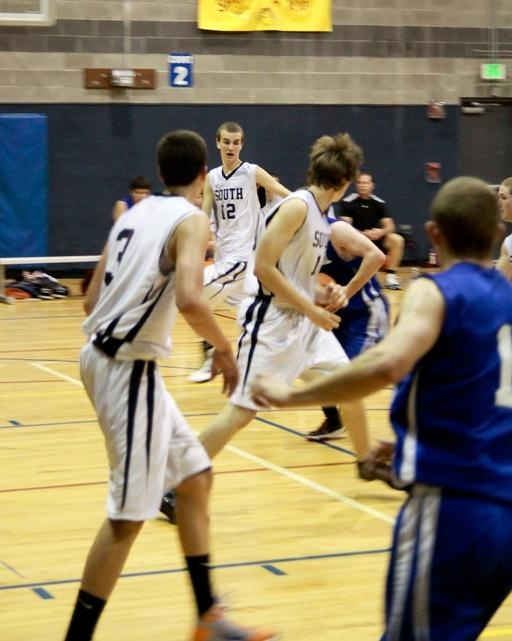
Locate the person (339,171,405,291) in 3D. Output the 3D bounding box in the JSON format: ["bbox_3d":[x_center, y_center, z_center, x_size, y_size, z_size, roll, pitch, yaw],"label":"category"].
[{"bbox_3d":[1.431,-1.209,10.397,0.919,1.368,0.931,-10,14,-37],"label":"person"}]

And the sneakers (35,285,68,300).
[{"bbox_3d":[-2.775,-0.378,10.835,0.469,0.133,0.189,6,1,-30],"label":"sneakers"}]

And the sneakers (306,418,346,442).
[{"bbox_3d":[0.419,0.662,4.774,0.299,0.116,0.092,-3,1,-12],"label":"sneakers"}]
